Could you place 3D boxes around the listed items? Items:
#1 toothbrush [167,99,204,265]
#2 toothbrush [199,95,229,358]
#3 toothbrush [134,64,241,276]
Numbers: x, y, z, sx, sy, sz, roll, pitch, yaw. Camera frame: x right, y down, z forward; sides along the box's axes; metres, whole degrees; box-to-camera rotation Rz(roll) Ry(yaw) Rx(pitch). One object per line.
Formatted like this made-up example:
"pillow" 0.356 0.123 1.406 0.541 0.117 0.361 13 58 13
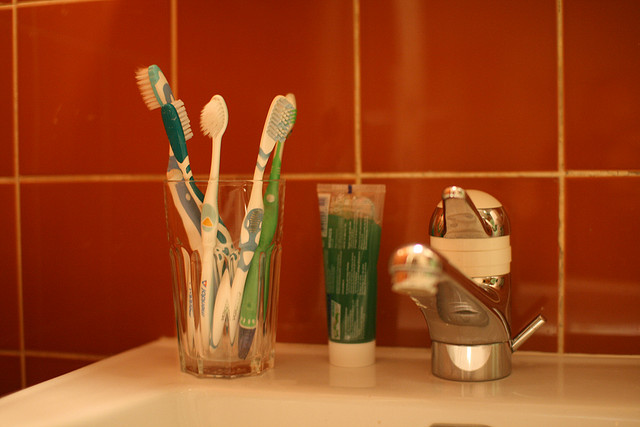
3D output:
"toothbrush" -0.185 -0.046 0.981 0.051 0.228 0.017 -9 2 41
"toothbrush" -0.157 0.019 1.000 0.042 0.353 0.065 -1 0 -20
"toothbrush" -0.192 -0.079 1.041 0.049 0.344 0.030 -20 0 44
